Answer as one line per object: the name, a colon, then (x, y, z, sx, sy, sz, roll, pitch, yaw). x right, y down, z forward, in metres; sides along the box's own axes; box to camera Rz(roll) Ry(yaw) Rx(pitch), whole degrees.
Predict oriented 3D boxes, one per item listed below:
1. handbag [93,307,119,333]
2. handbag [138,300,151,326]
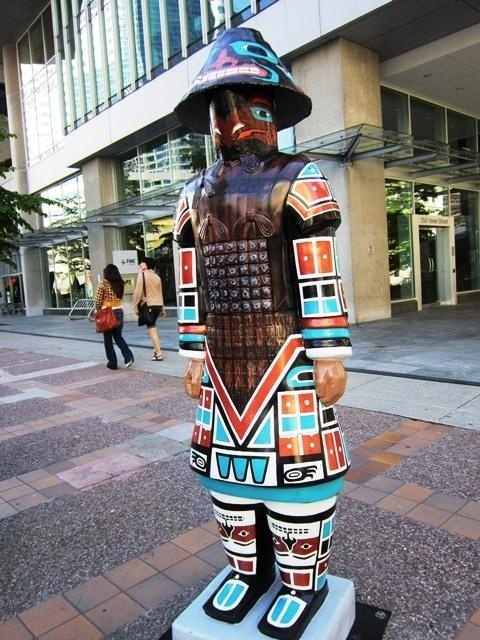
handbag: (-2.051, -0.012, 7.125, 0.406, 0.366, 0.174, -9, 4, 39)
handbag: (-1.576, -0.099, 7.549, 0.202, 0.394, 0.314, -6, 5, -17)
